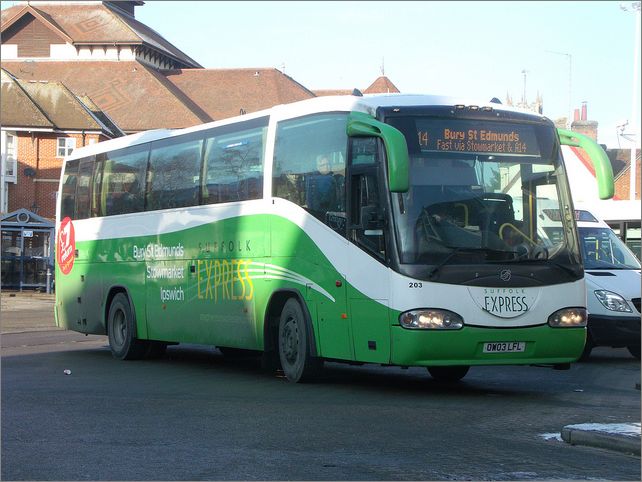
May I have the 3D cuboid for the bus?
[{"bbox_3d":[-1.663,-0.031,13.953,4.092,4.323,12.634,2,-3,-32],"label":"bus"}]
